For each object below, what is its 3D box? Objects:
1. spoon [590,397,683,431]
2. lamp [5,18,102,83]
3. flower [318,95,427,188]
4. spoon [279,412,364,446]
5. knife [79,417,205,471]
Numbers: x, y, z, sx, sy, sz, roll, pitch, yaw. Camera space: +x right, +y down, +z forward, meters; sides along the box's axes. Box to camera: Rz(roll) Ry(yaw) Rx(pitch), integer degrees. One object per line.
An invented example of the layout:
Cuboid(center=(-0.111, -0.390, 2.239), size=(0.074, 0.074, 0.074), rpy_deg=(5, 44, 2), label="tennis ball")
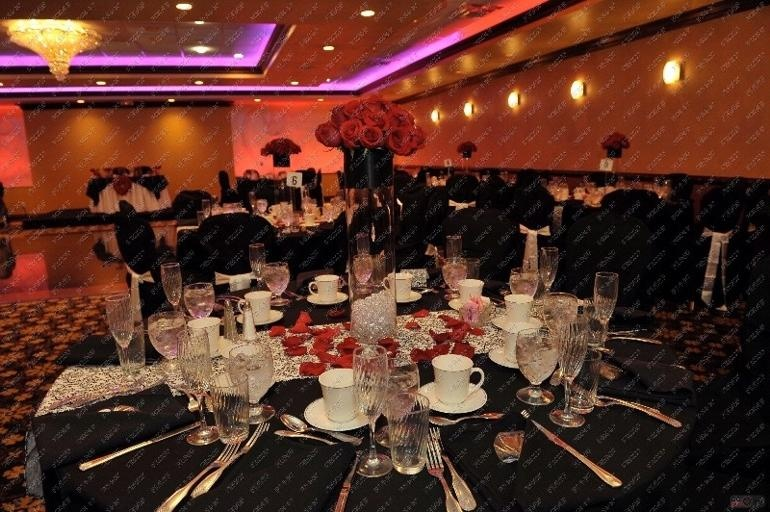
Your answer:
Cuboid(center=(1.025, 0.638, 2.172), size=(0.262, 0.029, 0.053), rpy_deg=(14, 58, 32), label="spoon")
Cuboid(center=(-4.222, -2.702, 6.989), size=(0.974, 0.574, 1.089), rpy_deg=(1, 8, 14), label="lamp")
Cuboid(center=(-0.078, -0.599, 2.694), size=(0.454, 0.365, 0.449), rpy_deg=(-4, 21, -17), label="flower")
Cuboid(center=(-0.294, 0.684, 2.137), size=(0.431, 0.070, 0.112), rpy_deg=(7, 12, 20), label="spoon")
Cuboid(center=(-0.958, 0.730, 2.078), size=(0.462, 0.025, 0.062), rpy_deg=(-15, 50, -28), label="knife")
